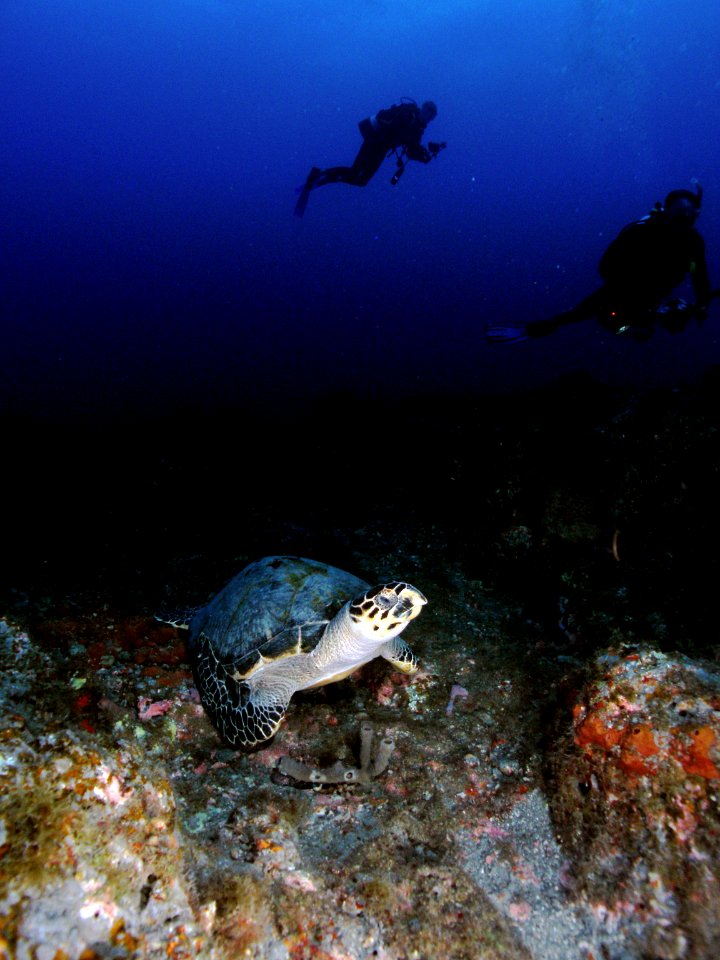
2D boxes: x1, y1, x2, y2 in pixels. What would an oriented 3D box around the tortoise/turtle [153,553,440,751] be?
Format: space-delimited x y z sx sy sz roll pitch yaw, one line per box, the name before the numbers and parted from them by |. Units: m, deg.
tortoise/turtle | -0.450 0.917 4.743 1.178 0.984 1.529 -5 15 -17
